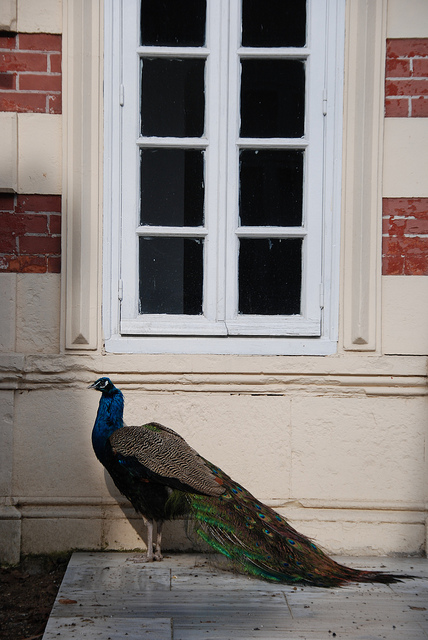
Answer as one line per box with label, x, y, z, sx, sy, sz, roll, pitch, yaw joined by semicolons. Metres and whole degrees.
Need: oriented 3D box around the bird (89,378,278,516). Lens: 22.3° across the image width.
bird;-0.137;0.815;5.743;1.125;0.849;0.375;9;-7;10
